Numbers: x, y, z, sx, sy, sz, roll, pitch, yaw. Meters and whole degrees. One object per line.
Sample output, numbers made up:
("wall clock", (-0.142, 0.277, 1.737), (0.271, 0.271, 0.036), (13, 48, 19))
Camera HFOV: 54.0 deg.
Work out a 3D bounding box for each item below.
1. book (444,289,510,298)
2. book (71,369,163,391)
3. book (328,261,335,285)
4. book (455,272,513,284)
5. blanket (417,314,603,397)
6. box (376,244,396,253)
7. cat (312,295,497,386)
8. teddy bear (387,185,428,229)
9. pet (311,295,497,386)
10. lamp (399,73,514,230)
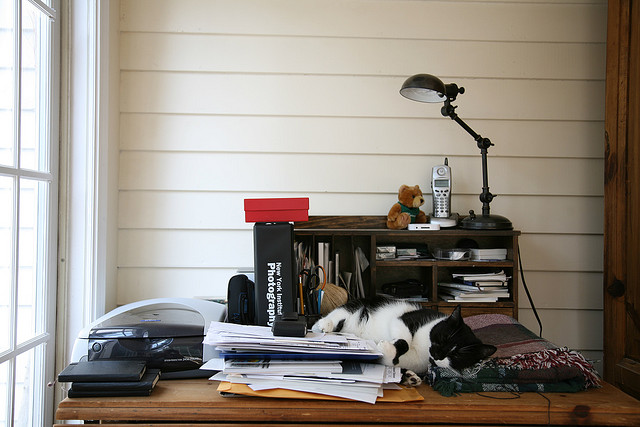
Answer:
("book", (0.806, 0.415, 3.222), (0.324, 0.042, 0.095), (-1, -2, 14))
("book", (-0.774, 0.661, 2.420), (0.337, 0.065, 0.094), (0, -2, -22))
("book", (0.061, 0.310, 3.244), (0.021, 0.108, 0.083), (-1, -1, 18))
("book", (0.852, 0.339, 3.260), (0.284, 0.059, 0.109), (-1, -2, 1))
("blanket", (0.764, 0.599, 2.599), (0.502, 0.117, 0.499), (-1, 0, 7))
("box", (0.347, 0.186, 3.293), (0.101, 0.041, 0.111), (-1, -2, 5))
("cat", (0.361, 0.446, 2.556), (0.594, 0.271, 0.348), (7, 5, 19))
("teddy bear", (0.487, 0.007, 3.447), (0.196, 0.255, 0.269), (-12, -17, 43))
("pet", (0.356, 0.472, 2.549), (0.589, 0.254, 0.353), (15, 2, 20))
("lamp", (0.702, -0.298, 3.211), (0.616, 0.771, 0.214), (0, -1, -30))
